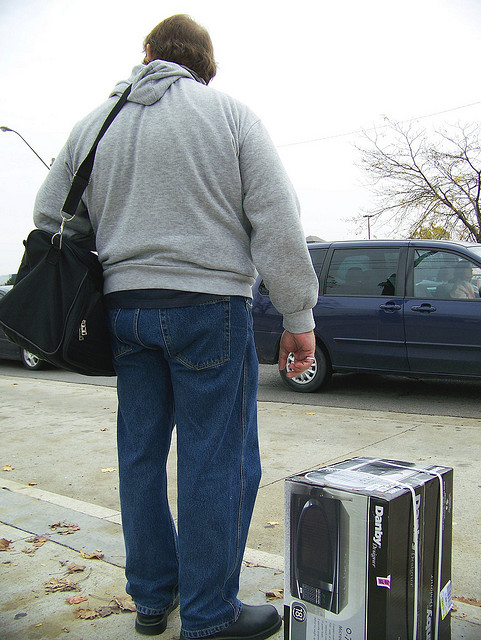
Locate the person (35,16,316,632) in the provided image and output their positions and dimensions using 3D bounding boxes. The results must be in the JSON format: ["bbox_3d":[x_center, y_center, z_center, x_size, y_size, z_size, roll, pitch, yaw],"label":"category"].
[{"bbox_3d":[-0.171,0.035,1.686,0.790,1.933,0.369,-2,2,28],"label":"person"}]

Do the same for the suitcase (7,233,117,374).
[{"bbox_3d":[-0.504,-0.051,1.599,0.204,0.345,0.309,-24,-42,28],"label":"suitcase"}]
